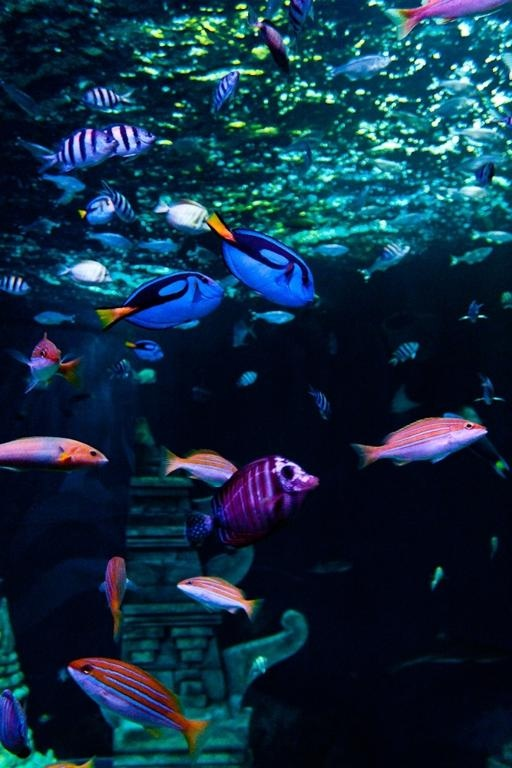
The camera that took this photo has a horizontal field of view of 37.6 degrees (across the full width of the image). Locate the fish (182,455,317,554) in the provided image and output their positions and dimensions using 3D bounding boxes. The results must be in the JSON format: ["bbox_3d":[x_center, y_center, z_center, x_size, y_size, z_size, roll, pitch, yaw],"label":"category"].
[{"bbox_3d":[-0.037,0.729,4.523,0.908,0.528,0.194,-29,-39,15],"label":"fish"}]
